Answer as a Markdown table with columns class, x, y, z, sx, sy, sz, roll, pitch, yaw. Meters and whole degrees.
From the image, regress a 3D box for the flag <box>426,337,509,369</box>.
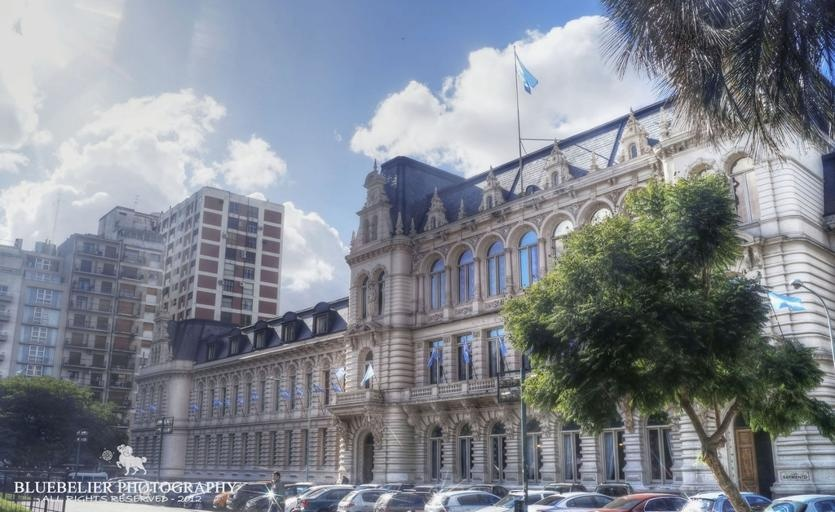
| class | x | y | z | sx | sy | sz | roll | pitch | yaw |
| --- | --- | --- | --- | --- | --- | --- | --- | --- | --- |
| flag | 3.914 | 7.249 | 69.791 | 3.661 | 2.491 | 0.319 | 0 | -7 | 11 |
